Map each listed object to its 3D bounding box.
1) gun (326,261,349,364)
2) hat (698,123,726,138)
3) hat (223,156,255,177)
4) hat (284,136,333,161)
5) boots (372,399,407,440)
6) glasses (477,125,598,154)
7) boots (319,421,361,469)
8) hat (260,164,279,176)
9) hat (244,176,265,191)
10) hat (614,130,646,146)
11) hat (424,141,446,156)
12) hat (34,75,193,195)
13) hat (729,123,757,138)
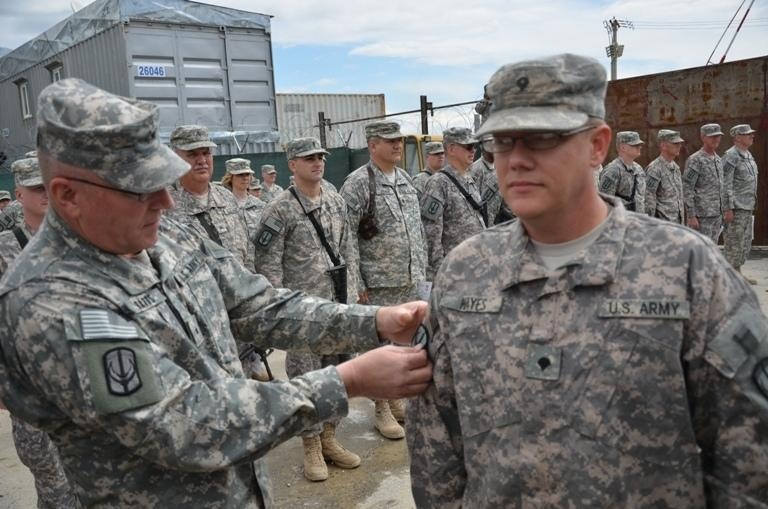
[{"bbox_3d":[-0.431,0.460,5.807,0.171,0.734,0.274,2,1,12],"label":"gun"},{"bbox_3d":[4.418,-1.661,10.338,0.445,0.225,0.355,9,18,43],"label":"hat"},{"bbox_3d":[-2.009,-1.150,10.024,0.376,0.208,0.454,-10,11,-41],"label":"hat"},{"bbox_3d":[-0.654,-0.834,6.022,0.287,0.114,0.204,5,8,41],"label":"hat"},{"bbox_3d":[0.019,1.265,5.908,0.151,0.246,0.401,-7,13,-21],"label":"boots"},{"bbox_3d":[0.619,-0.446,2.963,0.397,0.087,0.140,-1,10,19],"label":"glasses"},{"bbox_3d":[-0.342,1.387,5.489,0.388,0.271,0.134,10,19,40],"label":"boots"},{"bbox_3d":[-2.071,-1.447,13.186,0.284,0.144,0.212,8,19,24],"label":"hat"},{"bbox_3d":[-2.193,-1.181,12.796,0.326,0.146,0.446,-5,10,-37],"label":"hat"},{"bbox_3d":[2.924,-1.413,9.288,0.480,0.217,0.356,7,15,34],"label":"hat"},{"bbox_3d":[0.616,-1.300,9.451,0.302,0.133,0.424,-3,15,-2],"label":"hat"},{"bbox_3d":[-1.132,-0.484,3.127,0.619,0.231,0.413,22,31,0],"label":"hat"},{"bbox_3d":[5.025,-1.732,10.706,0.296,0.148,0.410,-14,17,-39],"label":"hat"}]
